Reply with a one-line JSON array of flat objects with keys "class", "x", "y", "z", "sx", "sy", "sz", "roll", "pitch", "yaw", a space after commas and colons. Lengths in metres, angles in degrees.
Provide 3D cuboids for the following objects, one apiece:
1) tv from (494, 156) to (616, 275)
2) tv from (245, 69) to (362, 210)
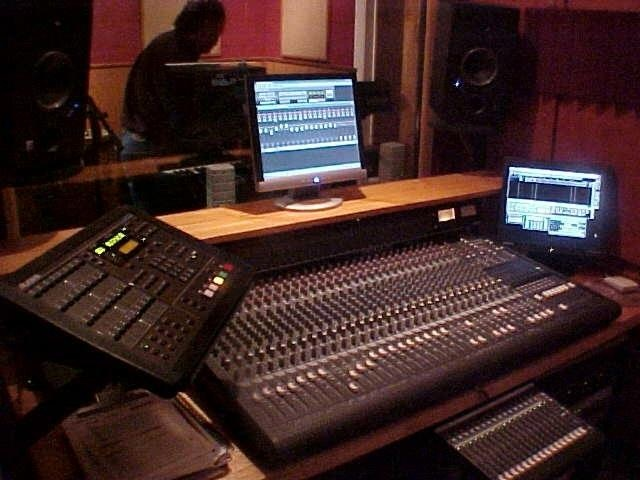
[{"class": "tv", "x": 0.960, "y": -0.093, "z": 2.113, "sx": 0.533, "sy": 0.461, "sz": 0.164, "roll": 3, "pitch": 4, "yaw": 12}, {"class": "tv", "x": -0.057, "y": -0.404, "z": 2.070, "sx": 0.576, "sy": 0.504, "sz": 0.293, "roll": -14, "pitch": 31, "yaw": -41}]
